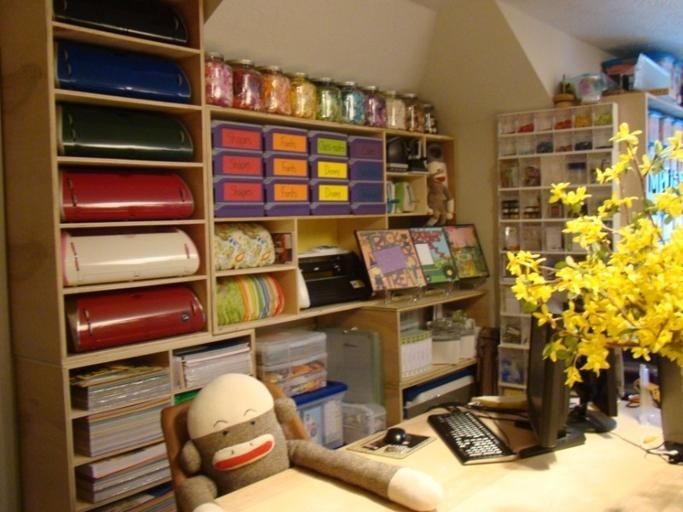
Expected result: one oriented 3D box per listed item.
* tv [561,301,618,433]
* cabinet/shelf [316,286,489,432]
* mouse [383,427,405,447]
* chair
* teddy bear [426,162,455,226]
[{"bbox_3d":[1.120,0.461,2.294,0.304,0.479,0.341,11,-1,30],"label":"tv"},{"bbox_3d":[0.374,0.726,3.653,0.405,0.618,1.151,-3,2,40],"label":"cabinet/shelf"},{"bbox_3d":[0.210,0.709,2.063,0.071,0.039,0.067,-19,20,-39],"label":"mouse"},{"bbox_3d":[-0.495,0.662,2.139,0.531,0.383,0.399,-19,-6,-26],"label":"chair"},{"bbox_3d":[0.892,-0.519,4.791,0.268,0.497,0.170,-6,8,17],"label":"teddy bear"}]
